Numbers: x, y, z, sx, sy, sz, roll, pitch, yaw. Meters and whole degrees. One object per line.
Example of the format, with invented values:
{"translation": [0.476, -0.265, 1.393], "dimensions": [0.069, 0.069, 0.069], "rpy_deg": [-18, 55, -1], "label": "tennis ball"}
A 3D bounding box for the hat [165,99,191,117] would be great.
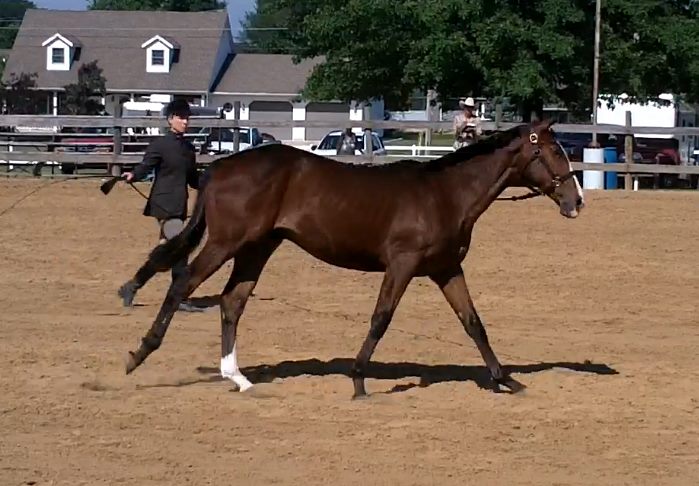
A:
{"translation": [-2.564, -2.037, 17.261], "dimensions": [0.258, 0.286, 0.327], "rpy_deg": [-1, 25, -10], "label": "hat"}
